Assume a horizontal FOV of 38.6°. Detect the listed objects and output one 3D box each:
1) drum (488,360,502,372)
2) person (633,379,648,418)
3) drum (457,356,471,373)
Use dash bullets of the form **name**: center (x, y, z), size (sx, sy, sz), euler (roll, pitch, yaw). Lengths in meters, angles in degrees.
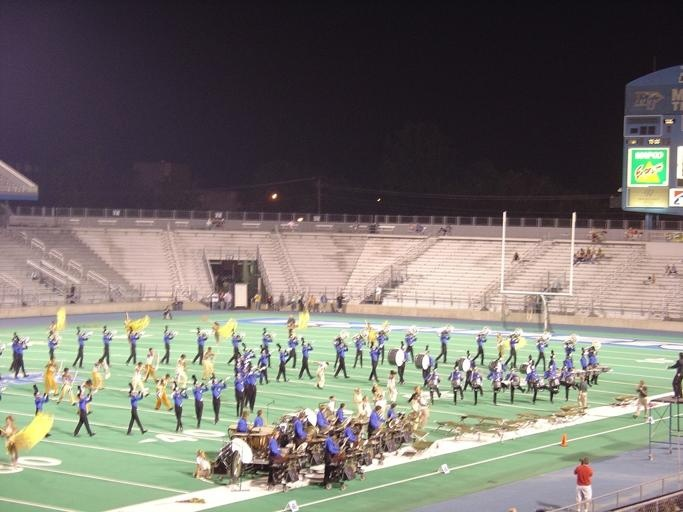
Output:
- **drum**: center (4.194, 2.999, 26.555), size (0.116, 0.306, 0.332), euler (26, -12, -31)
- **person**: center (7.831, 3.667, 25.469), size (0.332, 1.101, 1.521), euler (3, 5, 17)
- **drum**: center (3.310, 3.000, 26.749), size (0.378, 0.520, 0.681), euler (-6, -11, 28)
